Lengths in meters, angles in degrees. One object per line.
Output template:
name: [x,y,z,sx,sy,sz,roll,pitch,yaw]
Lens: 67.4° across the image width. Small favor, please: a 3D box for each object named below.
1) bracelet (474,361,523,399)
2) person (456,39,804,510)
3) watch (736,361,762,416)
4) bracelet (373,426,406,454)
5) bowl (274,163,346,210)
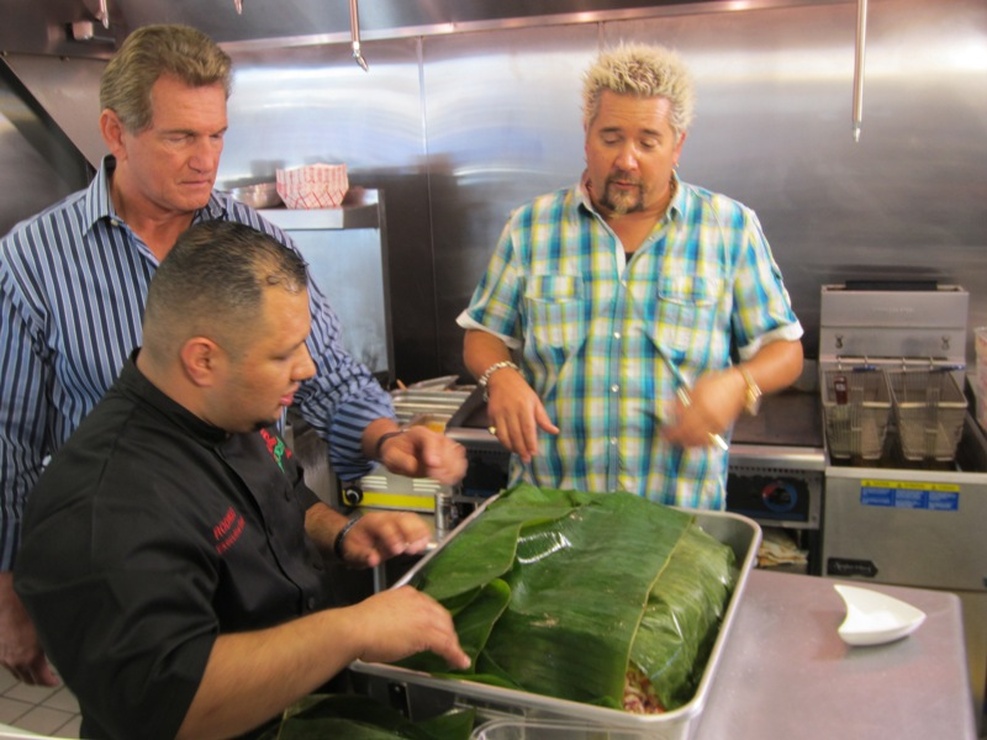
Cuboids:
bracelet: [0.005,0.007,1.921,0.032,0.109,0.109,18,-11,16]
person: [0.327,-0.213,1.944,0.879,1.156,0.364,2,3,25]
watch: [0.615,0.046,1.759,0.035,0.114,0.089,-10,-22,24]
bracelet: [-0.240,0.163,1.662,0.055,0.057,0.044,-6,-35,8]
bowl: [-0.761,-0.727,3.133,0.246,0.154,0.231,-1,5,0]
